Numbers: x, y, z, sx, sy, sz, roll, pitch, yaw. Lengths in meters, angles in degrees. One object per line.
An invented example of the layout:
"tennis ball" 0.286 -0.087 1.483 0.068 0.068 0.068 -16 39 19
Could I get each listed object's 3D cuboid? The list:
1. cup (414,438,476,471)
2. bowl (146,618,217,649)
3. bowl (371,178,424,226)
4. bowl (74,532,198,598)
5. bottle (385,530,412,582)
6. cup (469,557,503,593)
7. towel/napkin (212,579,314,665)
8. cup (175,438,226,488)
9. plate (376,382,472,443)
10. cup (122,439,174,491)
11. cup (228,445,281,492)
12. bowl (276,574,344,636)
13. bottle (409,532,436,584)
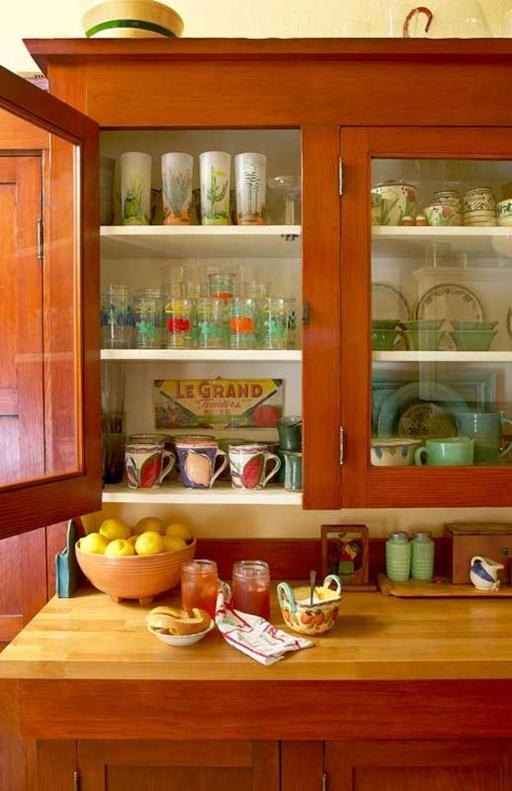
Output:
"cup" 0.376 0.116 1.354 0.098 0.069 0.058 -4 -3 2
"bowl" -0.133 0.425 1.236 0.115 0.042 0.102 0 5 -4
"bowl" 0.277 -0.377 1.388 0.088 0.092 0.086 -2 -5 0
"bowl" -0.239 0.356 1.369 0.140 0.067 0.143 -1 -3 0
"bottle" 0.324 0.363 1.559 0.058 0.106 0.081 1 5 11
"cup" 0.501 0.388 1.484 0.071 0.065 0.058 2 5 16
"towel/napkin" -0.005 0.432 1.242 0.066 0.079 0.180 4 -10 -29
"cup" -0.117 0.143 1.438 0.115 0.110 0.077 -2 2 -7
"plate" 0.310 0.017 1.291 0.121 0.125 0.028 10 6 -2
"cup" -0.228 0.147 1.441 0.072 0.083 0.111 -4 -5 42
"cup" -0.008 0.147 1.430 0.115 0.085 0.075 -1 -1 -15
"bowl" 0.110 0.388 1.309 0.099 0.078 0.098 -1 0 0
"bottle" 0.381 0.362 1.560 0.053 0.108 0.081 1 5 14
